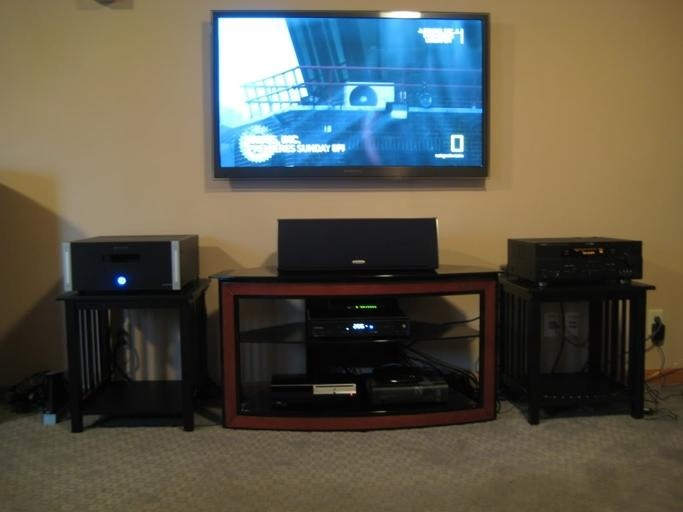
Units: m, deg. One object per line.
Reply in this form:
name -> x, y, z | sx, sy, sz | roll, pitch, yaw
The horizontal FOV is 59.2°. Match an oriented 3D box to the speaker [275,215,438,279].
speaker -> 0.080, -0.023, 3.047 | 0.795, 0.286, 0.268 | 0, -14, -3

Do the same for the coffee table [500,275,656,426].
coffee table -> 1.178, 0.482, 3.171 | 0.670, 0.628, 0.593 | 1, -2, -10

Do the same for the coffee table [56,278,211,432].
coffee table -> -1.040, 0.447, 3.204 | 0.724, 0.722, 0.756 | 0, 0, -4
